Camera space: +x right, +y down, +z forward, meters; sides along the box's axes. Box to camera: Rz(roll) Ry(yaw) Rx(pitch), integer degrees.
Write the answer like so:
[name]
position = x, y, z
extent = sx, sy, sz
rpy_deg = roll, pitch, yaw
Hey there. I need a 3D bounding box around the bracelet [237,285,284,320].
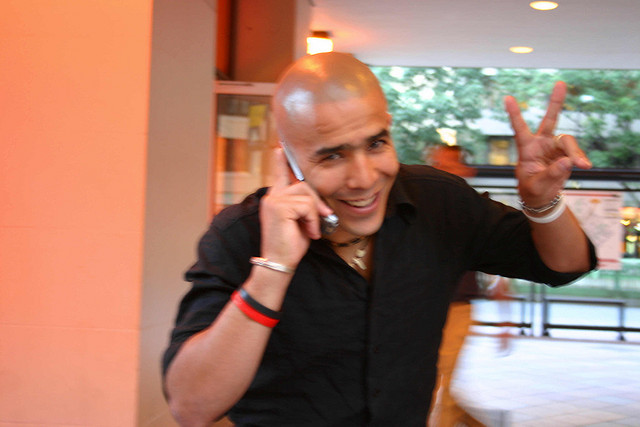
[bracelet]
position = -0.280, 0.420, 2.706
extent = 0.159, 0.040, 0.156
rpy_deg = 33, -1, -27
